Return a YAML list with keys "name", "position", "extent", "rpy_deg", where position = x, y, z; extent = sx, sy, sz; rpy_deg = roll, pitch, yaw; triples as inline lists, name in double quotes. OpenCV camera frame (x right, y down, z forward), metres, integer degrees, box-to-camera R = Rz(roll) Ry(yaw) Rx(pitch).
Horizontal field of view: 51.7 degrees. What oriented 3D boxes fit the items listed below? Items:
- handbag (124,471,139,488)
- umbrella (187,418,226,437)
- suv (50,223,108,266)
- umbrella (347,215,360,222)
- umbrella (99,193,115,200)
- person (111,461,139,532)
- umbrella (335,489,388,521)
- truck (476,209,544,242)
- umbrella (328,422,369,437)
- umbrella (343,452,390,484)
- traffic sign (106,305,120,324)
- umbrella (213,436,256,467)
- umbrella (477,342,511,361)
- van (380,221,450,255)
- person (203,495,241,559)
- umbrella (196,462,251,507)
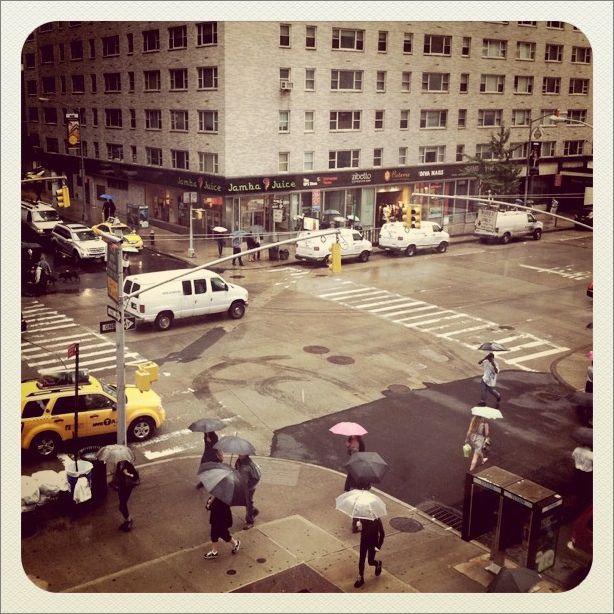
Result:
- name: "handbag"
  position: [-3.237, 3.183, 11.758]
  extent: [0.205, 0.280, 0.123]
  rpy_deg: [13, 26, 3]
- name: "umbrella"
  position: [-2.236, 2.692, 14.087]
  extent: [0.880, 0.295, 0.892]
  rpy_deg: [0, 14, -2]
- name: "suv"
  position: [-12.836, -3.534, 35.649]
  extent: [1.825, 1.667, 3.878]
  rpy_deg: [-13, 23, -39]
- name: "umbrella"
  position: [3.335, -6.293, 45.093]
  extent: [0.938, 0.432, 1.064]
  rpy_deg: [-5, 16, -24]
- name: "umbrella"
  position: [-14.421, -7.819, 44.864]
  extent: [1.031, 0.375, 1.110]
  rpy_deg: [1, 9, 0]
- name: "person"
  position: [-3.398, 3.467, 11.834]
  extent: [0.510, 1.314, 0.359]
  rpy_deg: [15, 18, 42]
- name: "umbrella"
  position: [0.858, 3.263, 10.300]
  extent: [0.705, 0.344, 0.847]
  rpy_deg: [-2, 14, -22]
- name: "truck"
  position: [15.140, -6.210, 46.853]
  extent: [4.548, 1.966, 2.456]
  rpy_deg: [-12, 20, -31]
- name: "umbrella"
  position: [0.854, 2.662, 13.224]
  extent: [0.635, 0.490, 0.859]
  rpy_deg: [4, 13, 3]
- name: "umbrella"
  position: [1.102, 3.036, 11.590]
  extent: [0.592, 0.504, 0.595]
  rpy_deg: [19, 49, 23]
- name: "traffic sign"
  position: [-4.463, 0.156, 14.629]
  extent: [0.023, 0.259, 0.431]
  rpy_deg: [-14, 25, -34]
- name: "umbrella"
  position: [-1.338, 2.711, 11.861]
  extent: [0.569, 0.504, 0.571]
  rpy_deg: [9, 4, -27]
- name: "umbrella"
  position: [5.401, 1.194, 18.541]
  extent: [1.002, 0.493, 1.004]
  rpy_deg: [-3, 4, -6]
- name: "van"
  position: [7.124, -4.409, 42.565]
  extent: [4.731, 2.563, 5.261]
  rpy_deg: [-2, 11, 6]
- name: "person"
  position: [-1.470, 3.840, 10.985]
  extent: [0.566, 1.342, 0.460]
  rpy_deg: [-6, 39, -8]
- name: "umbrella"
  position: [-1.415, 3.086, 10.716]
  extent: [0.720, 0.593, 1.044]
  rpy_deg: [-4, 15, -30]
